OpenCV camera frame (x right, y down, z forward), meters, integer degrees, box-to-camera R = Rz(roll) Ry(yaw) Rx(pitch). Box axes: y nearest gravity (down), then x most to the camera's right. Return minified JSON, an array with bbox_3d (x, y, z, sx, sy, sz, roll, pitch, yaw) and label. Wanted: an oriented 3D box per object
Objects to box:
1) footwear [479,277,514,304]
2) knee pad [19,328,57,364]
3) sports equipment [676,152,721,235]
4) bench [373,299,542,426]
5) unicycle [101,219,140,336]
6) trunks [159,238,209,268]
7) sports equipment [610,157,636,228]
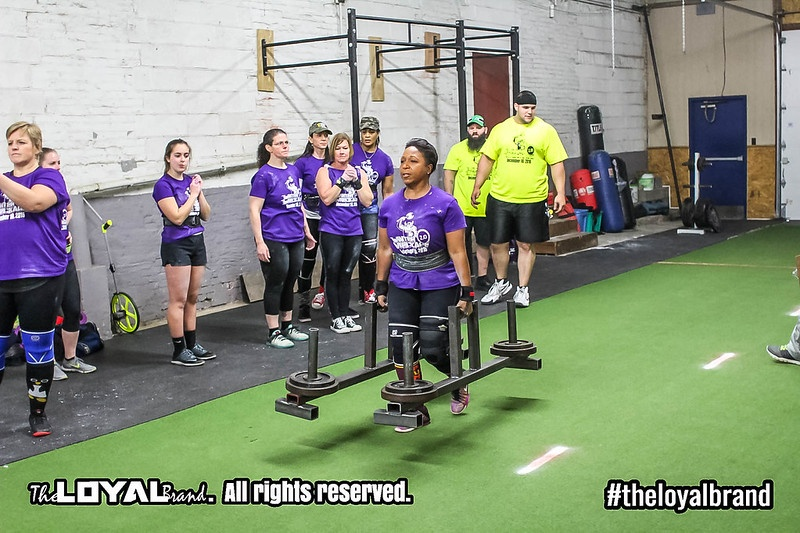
[{"bbox_3d":[1.250,0.283,7.428,0.571,0.235,0.191,-23,17,-39],"label":"footwear"},{"bbox_3d":[-2.558,0.573,4.136,0.240,0.249,0.181,-1,-1,9],"label":"knee pad"},{"bbox_3d":[6.175,-1.486,11.983,0.940,1.952,0.823,1,12,33],"label":"sports equipment"},{"bbox_3d":[0.469,0.585,4.398,0.533,0.749,2.125,1,7,31],"label":"bench"},{"bbox_3d":[-3.266,0.134,6.600,0.567,1.275,0.219,-4,9,39],"label":"unicycle"},{"bbox_3d":[-2.055,-0.132,5.493,0.291,0.276,0.419,-7,-4,39],"label":"trunks"},{"bbox_3d":[4.940,-1.599,12.795,0.467,1.790,0.700,-6,-4,2],"label":"sports equipment"}]
